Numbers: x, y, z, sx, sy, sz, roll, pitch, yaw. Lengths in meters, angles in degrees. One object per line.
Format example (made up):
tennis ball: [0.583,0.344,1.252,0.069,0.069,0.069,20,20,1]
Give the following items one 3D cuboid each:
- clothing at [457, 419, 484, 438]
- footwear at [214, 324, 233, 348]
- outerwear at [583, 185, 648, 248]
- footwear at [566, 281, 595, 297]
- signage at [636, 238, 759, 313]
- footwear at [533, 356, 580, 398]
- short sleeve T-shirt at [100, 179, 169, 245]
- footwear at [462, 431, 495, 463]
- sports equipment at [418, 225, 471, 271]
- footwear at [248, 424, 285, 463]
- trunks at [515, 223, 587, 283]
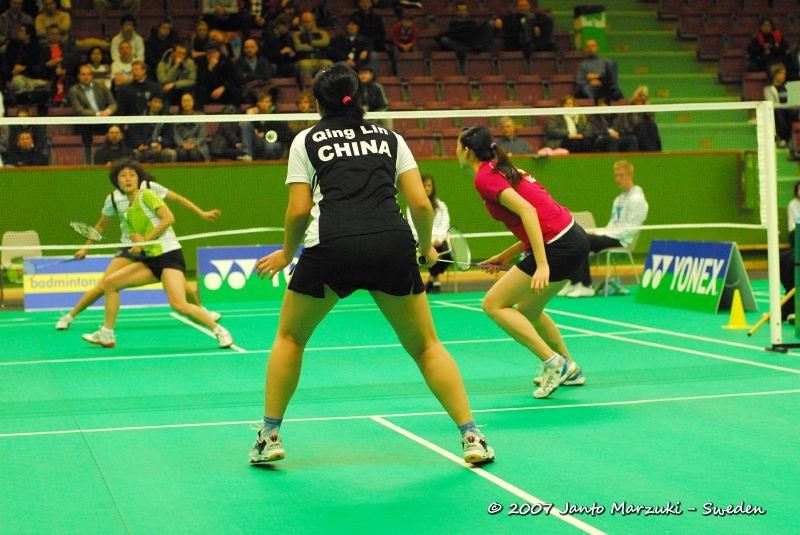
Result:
clothing: [0.509,1.158,5.435,0.121,0.110,0.152,-13,-11,-4]
footwear: [-2.220,0.839,9.401,0.154,0.165,0.387,-40,29,-2]
outerwear: [3.808,-0.857,12.748,1.272,1.210,0.822,-3,3,10]
footwear: [3.279,0.408,13.588,0.217,0.286,0.628,-1,-2,42]
signage: [4.555,0.115,11.759,0.838,1.118,2.124,-4,5,-15]
footwear: [1.483,1.034,7.000,0.308,0.240,0.661,23,-28,-8]
short sleeve T-shirt: [-3.655,-0.825,9.989,0.426,0.634,0.695,22,36,-4]
footwear: [0.545,1.284,5.334,0.130,0.160,0.334,-5,-7,23]
sports equipment: [0.601,-0.201,8.999,0.755,0.388,0.446,-6,-20,38]
footwear: [-0.974,1.295,5.467,0.146,0.181,0.368,-1,-2,-16]
trunks: [1.459,-0.086,6.982,0.654,0.302,0.483,-23,-20,-2]
